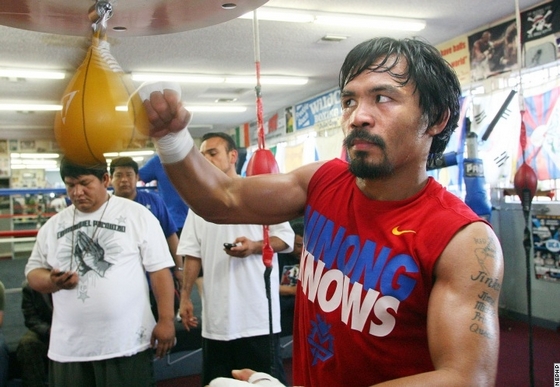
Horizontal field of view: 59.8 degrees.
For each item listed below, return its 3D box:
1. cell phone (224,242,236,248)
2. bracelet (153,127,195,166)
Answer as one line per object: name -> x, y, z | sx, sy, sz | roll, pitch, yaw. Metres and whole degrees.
cell phone -> -0.305, 0.323, 2.988 | 0.077, 0.028, 0.030 | 4, 4, -22
bracelet -> -0.394, -0.172, 1.816 | 0.117, 0.129, 0.126 | -3, 7, -8
